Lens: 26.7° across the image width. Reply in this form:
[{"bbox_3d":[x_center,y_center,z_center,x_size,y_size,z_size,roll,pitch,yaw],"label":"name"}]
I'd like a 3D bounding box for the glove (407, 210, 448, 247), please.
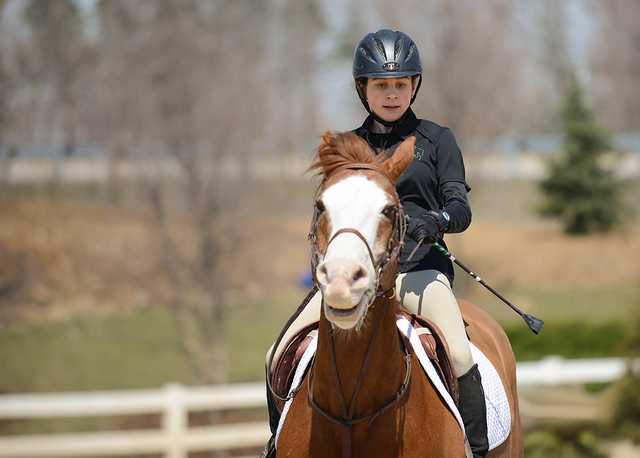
[{"bbox_3d":[1.318,-0.020,16.785,0.317,0.479,0.208,12,5,-21],"label":"glove"}]
